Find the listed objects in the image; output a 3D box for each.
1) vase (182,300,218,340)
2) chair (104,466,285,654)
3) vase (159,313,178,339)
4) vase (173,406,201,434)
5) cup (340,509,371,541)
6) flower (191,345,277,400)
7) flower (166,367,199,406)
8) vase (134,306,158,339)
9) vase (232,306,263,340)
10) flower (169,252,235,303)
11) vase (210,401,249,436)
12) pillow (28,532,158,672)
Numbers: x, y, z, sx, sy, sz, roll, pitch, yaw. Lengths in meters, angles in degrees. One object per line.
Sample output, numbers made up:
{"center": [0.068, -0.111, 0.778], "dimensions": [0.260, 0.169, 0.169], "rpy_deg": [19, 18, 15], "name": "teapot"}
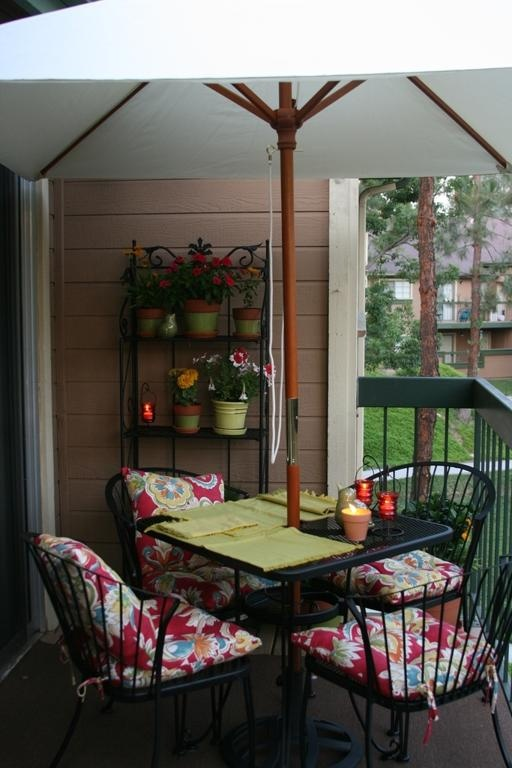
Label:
{"center": [-0.243, -0.278, 2.800], "dimensions": [0.155, 0.133, 0.150], "rpy_deg": [-1, 2, -16], "name": "vase"}
{"center": [-0.305, 0.573, 2.341], "dimensions": [0.495, 0.621, 0.568], "rpy_deg": [-1, -1, -39], "name": "chair"}
{"center": [-0.389, -0.255, 2.860], "dimensions": [0.092, 0.135, 0.099], "rpy_deg": [4, 2, -23], "name": "vase"}
{"center": [-0.308, 0.167, 2.881], "dimensions": [0.121, 0.116, 0.120], "rpy_deg": [-1, 4, -13], "name": "vase"}
{"center": [0.263, 0.375, 1.731], "dimensions": [0.077, 0.084, 0.076], "rpy_deg": [1, 5, 0], "name": "cup"}
{"center": [-0.125, -0.028, 2.923], "dimensions": [0.282, 0.207, 0.273], "rpy_deg": [4, -6, 17], "name": "flower"}
{"center": [-0.318, 0.010, 2.931], "dimensions": [0.156, 0.165, 0.159], "rpy_deg": [2, 13, -1], "name": "flower"}
{"center": [-0.486, -0.273, 2.883], "dimensions": [0.121, 0.130, 0.120], "rpy_deg": [1, 10, -6], "name": "vase"}
{"center": [-0.041, -0.261, 2.810], "dimensions": [0.134, 0.136, 0.137], "rpy_deg": [0, 3, 12], "name": "vase"}
{"center": [-0.244, -0.453, 2.788], "dimensions": [0.243, 0.173, 0.246], "rpy_deg": [1, 14, -2], "name": "flower"}
{"center": [-0.115, 0.155, 2.901], "dimensions": [0.154, 0.133, 0.146], "rpy_deg": [-3, 7, -29], "name": "vase"}
{"center": [-0.350, 0.497, 1.536], "dimensions": [0.329, 0.302, 0.254], "rpy_deg": [-2, 7, -13], "name": "pillow"}
